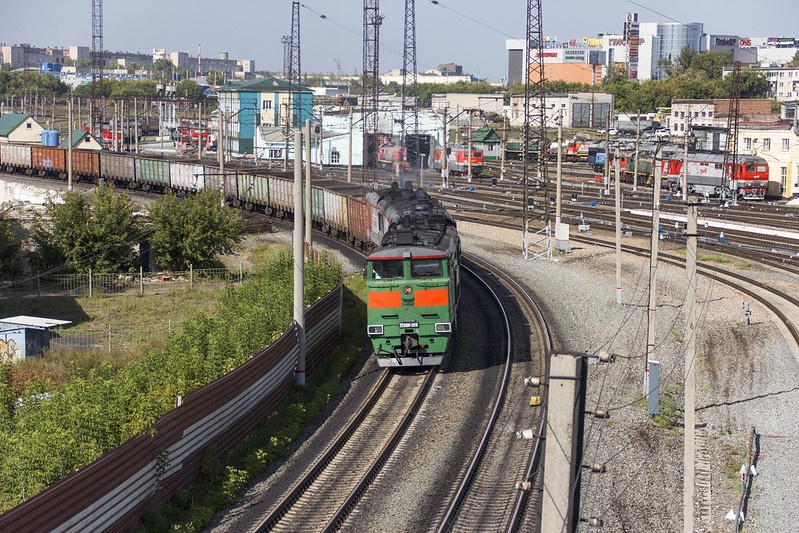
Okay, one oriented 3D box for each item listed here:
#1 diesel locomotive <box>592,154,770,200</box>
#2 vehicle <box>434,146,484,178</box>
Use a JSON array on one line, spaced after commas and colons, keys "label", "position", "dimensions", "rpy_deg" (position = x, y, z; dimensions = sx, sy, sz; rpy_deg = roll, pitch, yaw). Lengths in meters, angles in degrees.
[{"label": "diesel locomotive", "position": [27.957, -9.062, 91.139], "dimensions": [3.235, 4.085, 15.421], "rpy_deg": [-3, 9, -26]}, {"label": "vehicle", "position": [7.666, -12.560, 113.671], "dimensions": [2.520, 4.506, 11.698], "rpy_deg": [-1, 7, -14]}]
